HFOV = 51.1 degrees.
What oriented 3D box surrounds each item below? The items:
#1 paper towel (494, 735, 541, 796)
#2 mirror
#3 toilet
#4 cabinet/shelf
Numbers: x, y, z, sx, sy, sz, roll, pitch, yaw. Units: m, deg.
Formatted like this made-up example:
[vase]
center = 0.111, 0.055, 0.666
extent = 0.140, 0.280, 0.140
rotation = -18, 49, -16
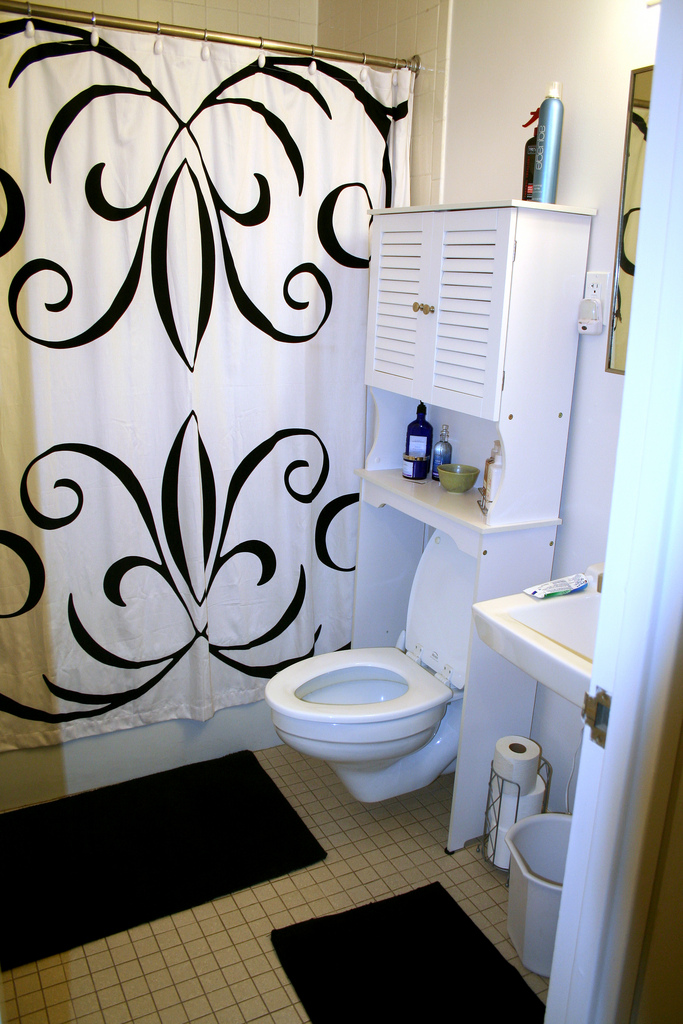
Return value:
[paper towel]
center = 0.428, 0.604, 1.727
extent = 0.081, 0.104, 0.109
rotation = -8, 8, 2
[mirror]
center = 0.583, -0.608, 1.492
extent = 0.008, 0.618, 0.096
rotation = 5, 8, 23
[toilet]
center = 0.117, 0.430, 1.946
extent = 0.429, 0.789, 0.367
rotation = 2, 11, -16
[cabinet/shelf]
center = 0.314, -0.187, 1.926
extent = 0.334, 1.219, 0.817
rotation = -3, 10, -22
